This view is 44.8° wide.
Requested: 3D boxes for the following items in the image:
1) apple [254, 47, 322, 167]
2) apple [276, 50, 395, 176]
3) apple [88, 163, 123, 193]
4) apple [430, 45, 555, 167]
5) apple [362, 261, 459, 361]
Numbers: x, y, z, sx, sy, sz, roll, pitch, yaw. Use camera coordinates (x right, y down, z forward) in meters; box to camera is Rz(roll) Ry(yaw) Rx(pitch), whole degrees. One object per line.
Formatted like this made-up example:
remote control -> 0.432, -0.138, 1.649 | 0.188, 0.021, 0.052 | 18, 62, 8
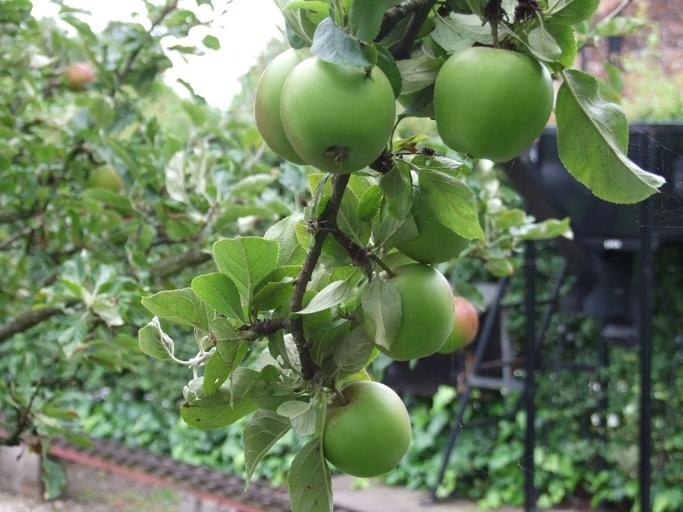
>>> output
apple -> -0.083, -0.284, 1.610 | 0.164, 0.224, 0.170 | -1, -6, 0
apple -> -0.008, -0.256, 1.547 | 0.181, 0.238, 0.190 | 5, -23, -13
apple -> -0.572, -0.189, 2.009 | 0.057, 0.066, 0.064 | -6, 7, -13
apple -> 0.279, -0.296, 1.564 | 0.222, 0.232, 0.237 | 3, 14, -20
apple -> 0.135, 0.123, 1.679 | 0.188, 0.202, 0.199 | -4, 12, 1
